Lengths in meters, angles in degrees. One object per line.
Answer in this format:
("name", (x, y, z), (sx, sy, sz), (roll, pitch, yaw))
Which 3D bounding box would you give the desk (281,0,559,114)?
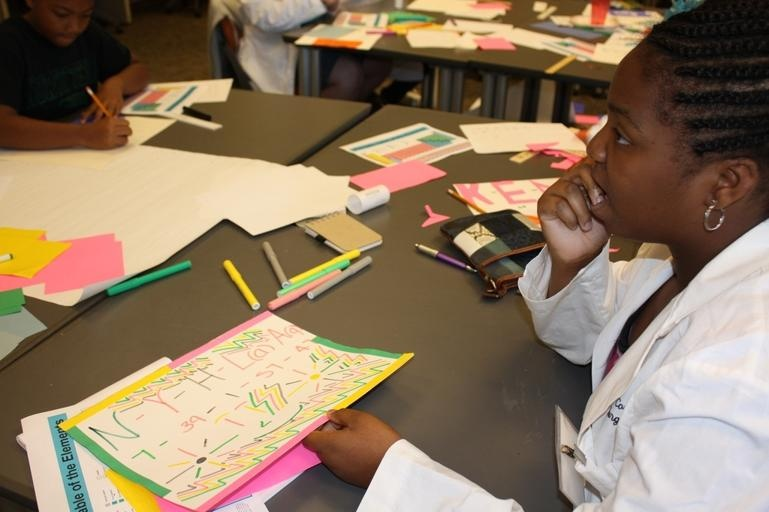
("desk", (0.157, -0.933, 2.668), (0.650, 0.387, 0.648), (17, 38, 22))

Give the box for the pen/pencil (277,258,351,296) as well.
("pen/pencil", (-0.155, 0.049, 1.286), (0.173, 0.019, 0.019), (-24, 62, -33))

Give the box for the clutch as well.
("clutch", (0.251, -0.029, 1.337), (0.193, 0.053, 0.194), (-18, 37, -20))

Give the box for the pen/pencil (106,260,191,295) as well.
("pen/pencil", (-0.522, 0.050, 1.280), (0.139, 0.023, 0.024), (-20, 59, -26))

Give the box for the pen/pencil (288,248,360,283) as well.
("pen/pencil", (-0.136, 0.024, 1.319), (0.140, 0.022, 0.024), (-28, 21, -34))

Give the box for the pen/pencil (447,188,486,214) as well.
("pen/pencil", (0.217, -0.143, 1.541), (0.120, 0.013, 0.014), (38, 82, 31))

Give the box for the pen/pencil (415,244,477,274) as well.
("pen/pencil", (0.145, 0.008, 1.342), (0.143, 0.016, 0.016), (23, 50, 31))

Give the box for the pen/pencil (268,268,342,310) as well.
("pen/pencil", (-0.171, 0.074, 1.257), (0.142, 0.021, 0.020), (-29, 61, -32))

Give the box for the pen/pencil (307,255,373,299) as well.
("pen/pencil", (-0.098, 0.049, 1.292), (0.023, 0.022, 0.154), (26, 44, 34))
